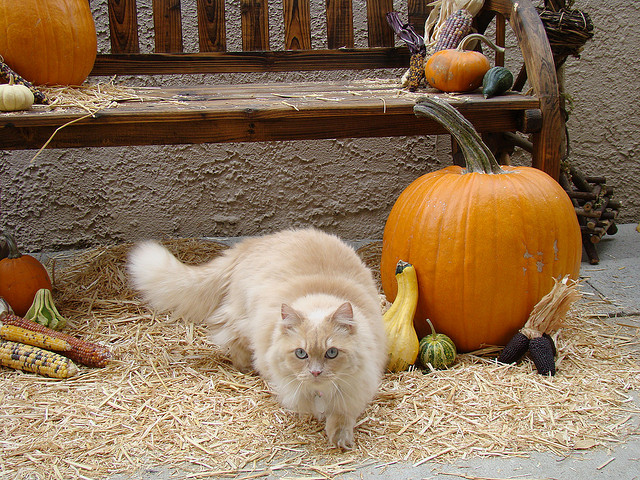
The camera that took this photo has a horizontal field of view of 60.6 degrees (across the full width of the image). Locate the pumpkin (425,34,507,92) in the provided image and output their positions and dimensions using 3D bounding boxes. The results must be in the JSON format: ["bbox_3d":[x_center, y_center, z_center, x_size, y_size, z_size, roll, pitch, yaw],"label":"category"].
[{"bbox_3d":[0.651,-0.852,2.687,0.389,0.234,0.258,1,8,-6],"label":"pumpkin"}]

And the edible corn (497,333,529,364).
[{"bbox_3d":[0.768,0.416,2.212,0.148,0.057,0.072,-27,43,-37],"label":"edible corn"}]

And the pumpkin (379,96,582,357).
[{"bbox_3d":[0.690,-0.048,2.295,0.841,1.021,0.474,2,30,5],"label":"pumpkin"}]

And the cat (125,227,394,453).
[{"bbox_3d":[-0.143,0.274,2.260,1.216,0.470,0.621,23,35,39],"label":"cat"}]
